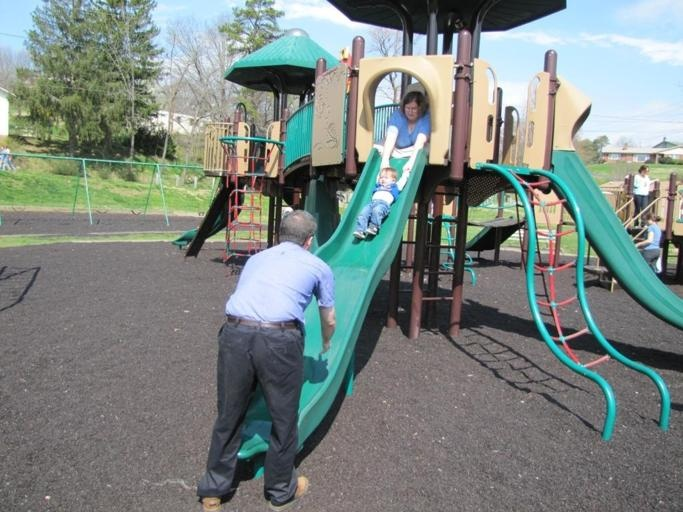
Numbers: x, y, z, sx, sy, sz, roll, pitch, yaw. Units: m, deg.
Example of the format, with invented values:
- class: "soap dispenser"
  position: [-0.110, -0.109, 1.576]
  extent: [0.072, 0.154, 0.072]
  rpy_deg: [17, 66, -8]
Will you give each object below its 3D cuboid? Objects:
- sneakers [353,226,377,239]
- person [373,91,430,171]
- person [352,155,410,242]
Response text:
- class: "sneakers"
  position: [0.345, -0.322, 7.600]
  extent: [0.372, 0.194, 0.140]
  rpy_deg: [4, -6, -34]
- class: "person"
  position: [1.023, -1.911, 8.405]
  extent: [0.579, 1.052, 1.294]
  rpy_deg: [10, 28, 0]
- class: "person"
  position: [0.611, -0.768, 7.929]
  extent: [0.512, 0.614, 1.361]
  rpy_deg: [14, 56, 27]
